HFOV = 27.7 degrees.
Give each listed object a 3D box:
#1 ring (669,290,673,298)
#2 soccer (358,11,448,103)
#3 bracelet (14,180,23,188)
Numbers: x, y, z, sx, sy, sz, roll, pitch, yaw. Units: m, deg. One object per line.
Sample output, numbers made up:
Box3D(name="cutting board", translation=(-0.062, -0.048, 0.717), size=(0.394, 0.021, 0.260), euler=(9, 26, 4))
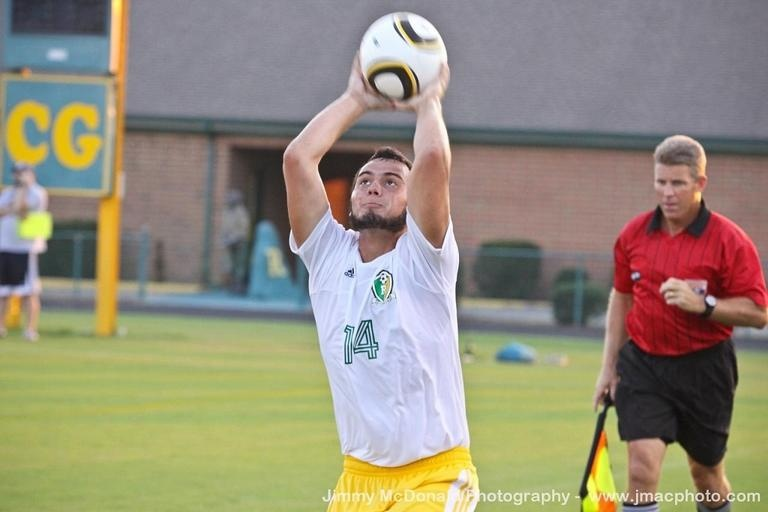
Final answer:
Box3D(name="ring", translation=(2.460, 0.323, 13.422), size=(0.054, 0.061, 0.022), euler=(5, -4, 4))
Box3D(name="soccer", translation=(0.169, -1.621, 12.639), size=(0.651, 0.704, 0.505), euler=(4, -22, -29))
Box3D(name="bracelet", translation=(-3.121, -0.631, 13.370), size=(0.062, 0.068, 0.022), euler=(8, -7, -4))
